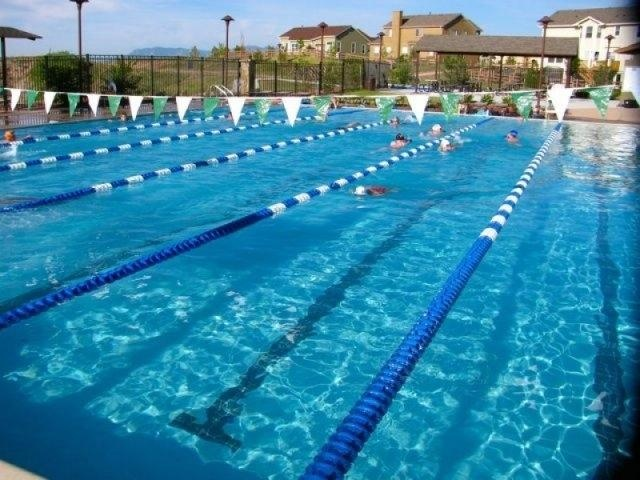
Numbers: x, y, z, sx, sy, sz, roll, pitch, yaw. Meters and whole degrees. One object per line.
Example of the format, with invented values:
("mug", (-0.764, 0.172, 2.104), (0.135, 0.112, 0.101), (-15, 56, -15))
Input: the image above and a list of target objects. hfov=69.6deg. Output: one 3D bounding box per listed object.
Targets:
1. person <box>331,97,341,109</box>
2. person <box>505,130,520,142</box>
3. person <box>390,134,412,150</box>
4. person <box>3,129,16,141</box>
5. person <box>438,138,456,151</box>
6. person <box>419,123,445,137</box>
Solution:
("person", (0.793, -7.014, 23.675), (0.346, 0.540, 0.953), (4, 14, 19))
("person", (6.275, -3.383, 15.084), (0.385, 0.361, 0.742), (5, 14, 19))
("person", (2.379, -2.928, 13.671), (0.461, 0.276, 0.765), (14, 43, 14))
("person", (-8.424, -2.827, 12.492), (0.272, 0.316, 0.976), (-9, 16, -32))
("person", (3.728, -2.779, 13.541), (0.413, 0.350, 0.774), (3, 13, 15))
("person", (3.981, -3.773, 16.039), (0.728, 0.272, 0.940), (7, 26, 21))
